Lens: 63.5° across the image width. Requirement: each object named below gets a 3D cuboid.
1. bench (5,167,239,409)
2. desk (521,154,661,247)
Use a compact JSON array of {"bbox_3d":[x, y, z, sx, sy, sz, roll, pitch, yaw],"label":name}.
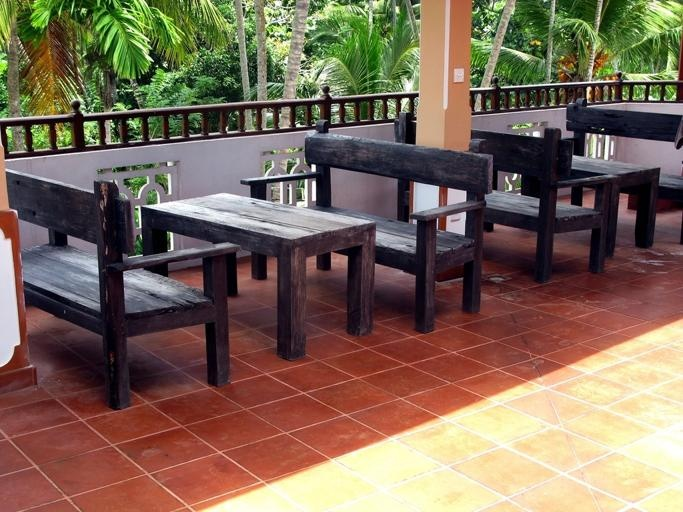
[{"bbox_3d":[-1.442,0.250,3.533,0.717,0.878,1.760,-14,22,-41],"label":"bench"},{"bbox_3d":[2.655,-0.562,5.886,0.763,0.776,1.346,-15,22,-37],"label":"desk"}]
